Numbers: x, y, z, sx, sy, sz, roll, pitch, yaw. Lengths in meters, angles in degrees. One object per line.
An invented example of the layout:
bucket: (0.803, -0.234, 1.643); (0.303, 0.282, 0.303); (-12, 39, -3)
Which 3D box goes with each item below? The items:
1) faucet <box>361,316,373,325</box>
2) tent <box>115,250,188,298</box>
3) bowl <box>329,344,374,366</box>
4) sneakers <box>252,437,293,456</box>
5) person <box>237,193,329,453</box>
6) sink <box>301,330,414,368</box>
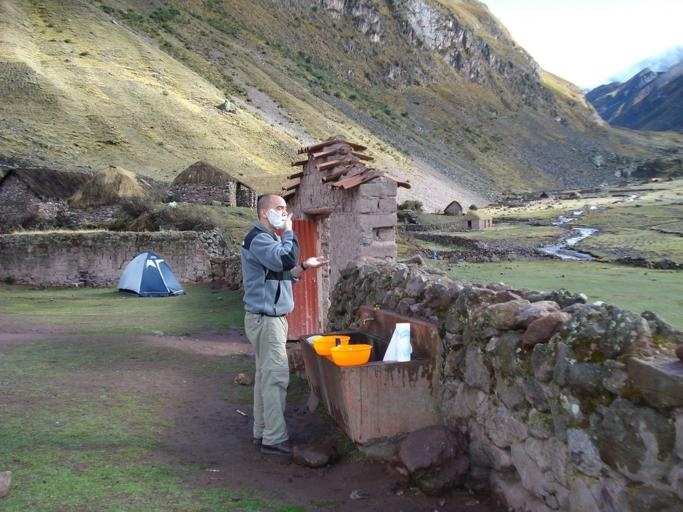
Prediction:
faucet: (0.340, 0.857, 6.590); (0.135, 0.038, 0.099); (-9, -5, -38)
tent: (-7.472, 0.588, 19.043); (2.705, 1.522, 2.302); (0, 3, -23)
bowl: (0.099, 1.047, 5.317); (0.409, 0.192, 0.518); (-1, 7, -11)
sneakers: (-0.763, 2.076, 5.423); (0.455, 0.146, 0.158); (-1, -5, 0)
person: (-0.738, 0.710, 5.434); (0.662, 2.761, 0.774); (-1, 10, -12)
sink: (0.200, 1.066, 5.712); (0.835, 0.168, 0.985); (0, 0, -13)
